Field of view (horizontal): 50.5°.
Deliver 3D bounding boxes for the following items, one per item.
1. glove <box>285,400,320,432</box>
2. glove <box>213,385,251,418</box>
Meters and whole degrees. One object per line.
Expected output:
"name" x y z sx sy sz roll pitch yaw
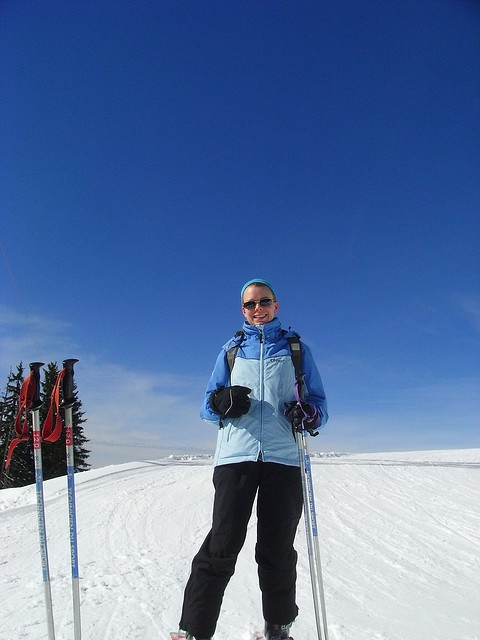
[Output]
"glove" 0.455 0.683 3.656 0.241 0.209 0.101 3 28 15
"glove" -0.073 0.575 3.692 0.276 0.227 0.127 7 10 36
